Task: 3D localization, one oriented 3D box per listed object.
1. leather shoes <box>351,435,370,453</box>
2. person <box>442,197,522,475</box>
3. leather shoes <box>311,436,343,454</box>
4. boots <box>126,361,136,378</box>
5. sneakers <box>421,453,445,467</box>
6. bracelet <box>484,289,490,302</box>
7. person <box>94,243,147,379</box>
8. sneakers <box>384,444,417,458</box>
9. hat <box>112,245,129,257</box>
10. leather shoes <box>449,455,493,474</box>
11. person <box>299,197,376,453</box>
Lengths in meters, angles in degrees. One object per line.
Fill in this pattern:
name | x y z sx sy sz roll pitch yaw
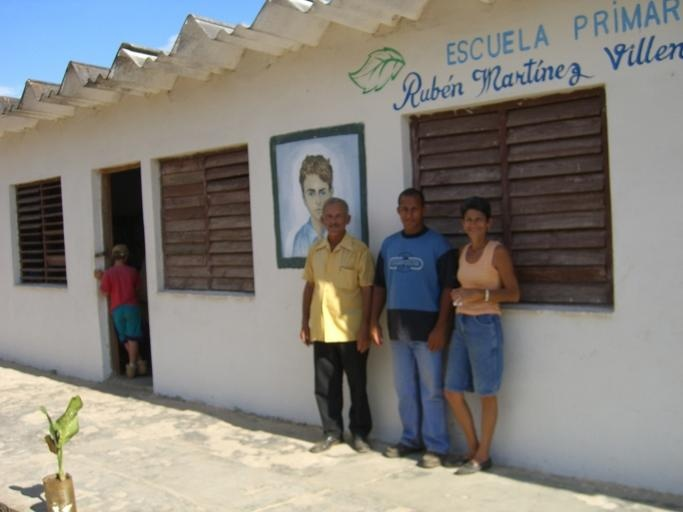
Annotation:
leather shoes | 0.180 1.648 5.325 0.140 0.130 0.108 -2 7 8
person | 1.107 0.623 4.837 0.580 2.160 0.427 -3 7 4
leather shoes | -0.131 1.674 5.440 0.277 0.099 0.101 -3 3 -41
boots | -2.718 1.477 7.876 0.124 0.194 0.202 5 23 -8
sneakers | 0.753 1.669 4.992 0.093 0.070 0.171 2 3 35
bracelet | 1.120 0.304 4.671 0.043 0.085 0.037 -2 7 8
person | -2.868 0.727 7.971 0.516 1.734 0.476 -4 7 -4
sneakers | 0.500 1.676 5.260 0.292 0.123 0.107 5 -5 -16
hat | -2.880 -0.060 7.915 0.196 0.160 0.285 -6 7 -19
leather shoes | 1.043 1.648 4.839 0.287 0.079 0.118 1 -6 -23
person | -0.022 0.608 5.413 0.697 2.223 0.491 -3 7 0
